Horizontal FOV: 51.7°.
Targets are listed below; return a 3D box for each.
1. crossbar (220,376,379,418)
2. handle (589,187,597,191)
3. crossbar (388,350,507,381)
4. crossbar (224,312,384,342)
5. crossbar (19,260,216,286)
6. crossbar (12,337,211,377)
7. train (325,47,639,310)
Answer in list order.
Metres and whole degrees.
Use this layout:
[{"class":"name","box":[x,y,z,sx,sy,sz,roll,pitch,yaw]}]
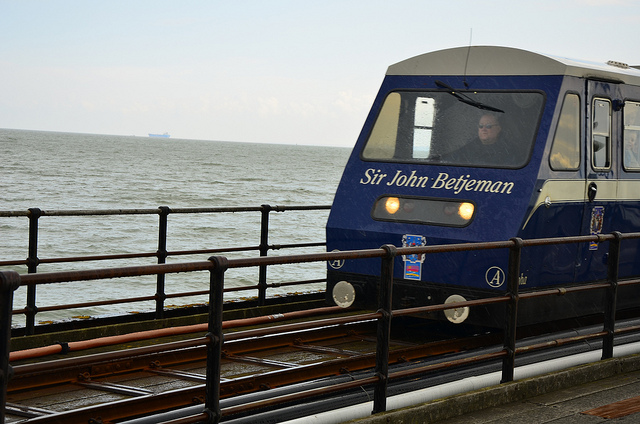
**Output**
[{"class":"crossbar","box":[-0.157,1.516,5.437,1.460,0.187,0.328,-2,9,-39]},{"class":"handle","box":[3.631,-0.316,8.837,0.051,0.054,0.023,-3,0,-23]},{"class":"crossbar","box":[1.193,1.468,6.336,1.542,0.152,0.213,-2,9,-34]},{"class":"crossbar","box":[-0.112,0.924,5.521,0.163,0.156,2.025,11,6,44]},{"class":"crossbar","box":[-1.358,0.412,4.544,1.308,0.129,0.311,-1,8,-31]},{"class":"crossbar","box":[-1.453,1.004,4.622,1.334,0.189,0.328,-1,9,-33]},{"class":"train","box":[2.028,-0.351,8.412,4.323,1.723,1.471,-3,5,-43]}]
